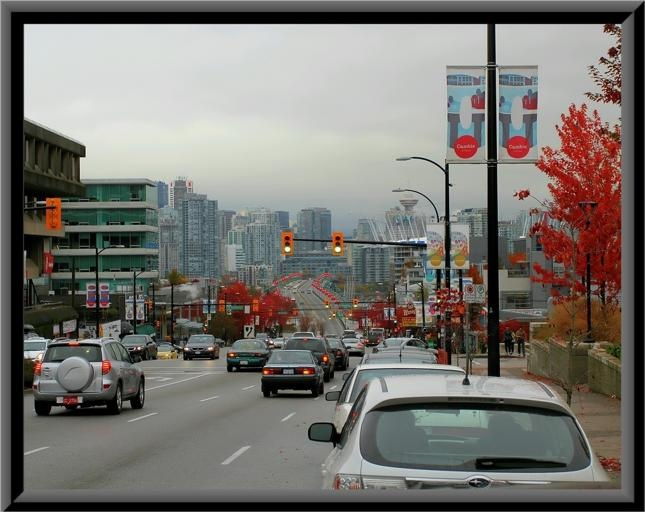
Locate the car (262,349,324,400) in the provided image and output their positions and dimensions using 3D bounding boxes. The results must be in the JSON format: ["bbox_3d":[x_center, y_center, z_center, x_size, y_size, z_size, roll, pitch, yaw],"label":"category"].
[{"bbox_3d":[-0.972,3.903,28.622,1.739,1.613,2.016,0,-6,3],"label":"car"}]

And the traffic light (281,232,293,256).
[{"bbox_3d":[-1.685,-0.626,41.848,0.550,1.098,1.891,-1,-2,-4],"label":"traffic light"}]

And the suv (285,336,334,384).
[{"bbox_3d":[-0.283,4.164,35.328,1.431,1.571,3.826,-1,-2,5],"label":"suv"}]

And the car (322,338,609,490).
[{"bbox_3d":[1.111,1.539,7.419,2.178,0.938,1.876,-2,-2,-5],"label":"car"}]
